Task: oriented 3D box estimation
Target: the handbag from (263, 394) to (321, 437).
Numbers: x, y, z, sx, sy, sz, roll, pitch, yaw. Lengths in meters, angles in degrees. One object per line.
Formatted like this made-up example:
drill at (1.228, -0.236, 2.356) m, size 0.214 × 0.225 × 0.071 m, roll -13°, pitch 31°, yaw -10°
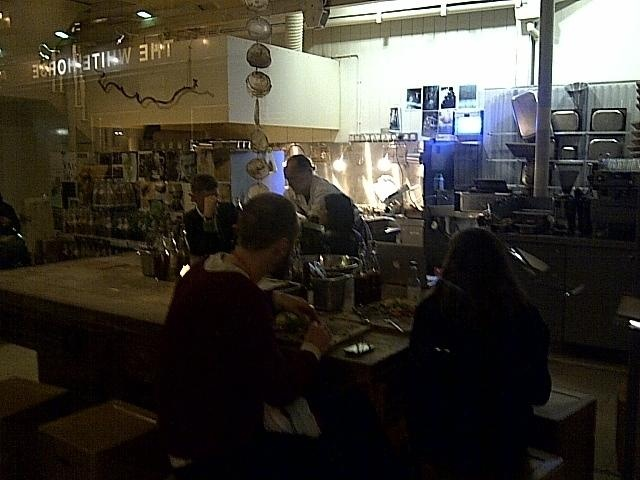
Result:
handbag at (-0.104, 0.736, 2.155) m, size 0.168 × 0.168 × 0.050 m, roll 11°, pitch -36°, yaw -30°

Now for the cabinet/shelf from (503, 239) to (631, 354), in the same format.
cabinet/shelf at (1.857, 0.440, 3.862) m, size 0.821 × 0.852 × 0.319 m, roll 1°, pitch 2°, yaw 17°

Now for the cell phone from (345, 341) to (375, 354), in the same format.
cell phone at (0.166, 0.475, 2.286) m, size 0.139 × 0.023 × 0.079 m, roll -7°, pitch 11°, yaw -30°

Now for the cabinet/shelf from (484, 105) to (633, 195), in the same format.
cabinet/shelf at (3.008, -1.237, 6.779) m, size 1.777 × 1.131 × 0.793 m, roll 1°, pitch 7°, yaw 19°
